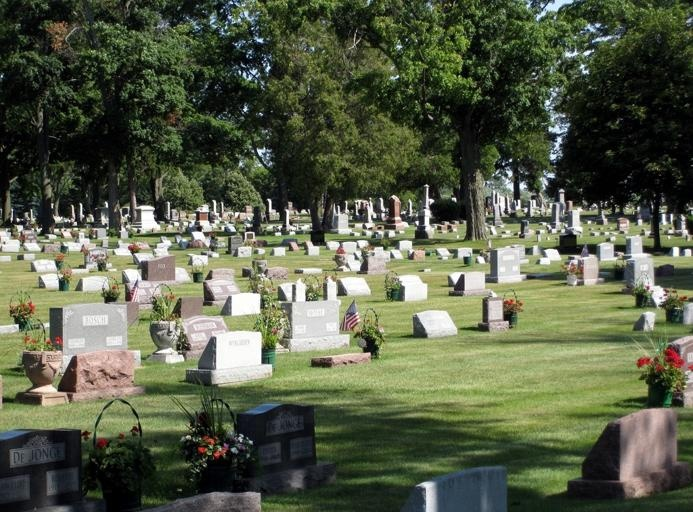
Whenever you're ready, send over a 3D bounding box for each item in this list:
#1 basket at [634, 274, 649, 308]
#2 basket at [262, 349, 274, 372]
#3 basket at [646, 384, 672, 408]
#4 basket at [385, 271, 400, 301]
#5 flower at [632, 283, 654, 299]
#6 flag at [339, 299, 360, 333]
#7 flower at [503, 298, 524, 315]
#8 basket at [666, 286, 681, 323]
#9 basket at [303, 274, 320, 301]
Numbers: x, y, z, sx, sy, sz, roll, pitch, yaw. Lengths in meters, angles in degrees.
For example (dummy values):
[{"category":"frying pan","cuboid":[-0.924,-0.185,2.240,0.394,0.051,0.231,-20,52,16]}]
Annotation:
[{"category":"basket","cuboid":[12.333,1.682,47.897,0.590,0.758,0.596,-4,-3,14]},{"category":"basket","cuboid":[-2.706,3.533,39.491,0.590,0.682,0.605,0,-2,-5]},{"category":"basket","cuboid":[9.493,4.214,34.714,0.670,0.688,0.612,0,2,-1]},{"category":"basket","cuboid":[2.045,1.395,51.166,0.679,1.193,1.641,-4,-2,2]},{"category":"flower","cuboid":[12.456,1.414,47.985,0.706,0.360,0.698,6,11,30]},{"category":"flag","cuboid":[0.072,2.276,43.236,0.664,1.175,1.068,-4,-3,0]},{"category":"flower","cuboid":[6.470,1.965,45.113,0.762,0.579,0.783,2,-3,-3]},{"category":"basket","cuboid":[12.738,1.839,44.797,0.706,1.205,0.742,3,0,-25]},{"category":"basket","cuboid":[-1.515,1.350,49.710,0.915,1.345,1.032,0,3,-1]}]
